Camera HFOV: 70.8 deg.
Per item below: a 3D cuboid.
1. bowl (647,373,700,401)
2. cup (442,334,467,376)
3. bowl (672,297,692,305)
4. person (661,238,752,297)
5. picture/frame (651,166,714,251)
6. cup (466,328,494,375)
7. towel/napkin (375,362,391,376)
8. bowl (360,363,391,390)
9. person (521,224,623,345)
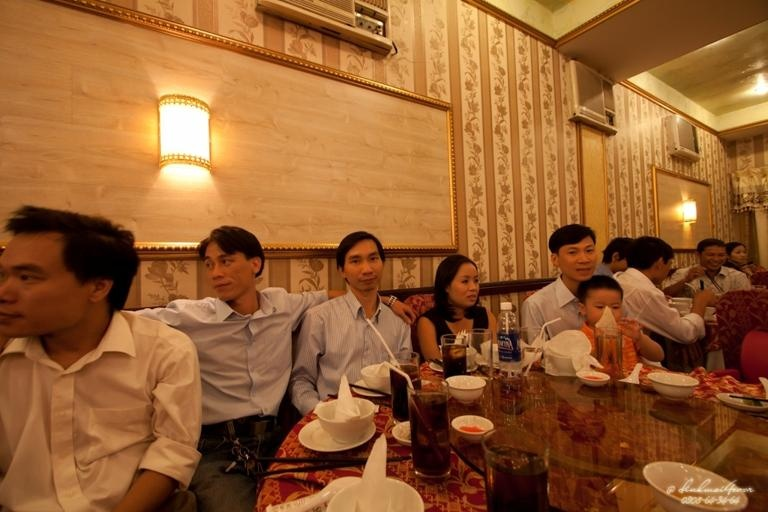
[{"bbox_3d":[1.588,0.703,3.001,0.166,0.066,0.165,1,-2,0],"label":"bowl"},{"bbox_3d":[0.415,0.600,3.211,0.208,0.249,0.211,-3,3,0],"label":"cup"},{"bbox_3d":[2.546,0.389,4.687,0.155,0.036,0.154,-1,2,0],"label":"bowl"},{"bbox_3d":[3.503,0.140,5.914,0.515,0.754,0.418,-4,-26,23],"label":"person"},{"bbox_3d":[3.853,-0.609,7.041,1.271,0.848,0.175,0,-1,-44],"label":"picture/frame"},{"bbox_3d":[0.597,0.595,3.370,0.162,0.255,0.161,0,-9,0],"label":"cup"},{"bbox_3d":[-0.008,0.647,3.108,0.094,0.096,0.035,-11,-30,28],"label":"towel/napkin"},{"bbox_3d":[-0.050,0.704,3.178,0.181,0.111,0.183,-1,-15,0],"label":"bowl"},{"bbox_3d":[1.408,0.378,4.224,0.845,1.230,0.515,-4,3,-28],"label":"person"}]
